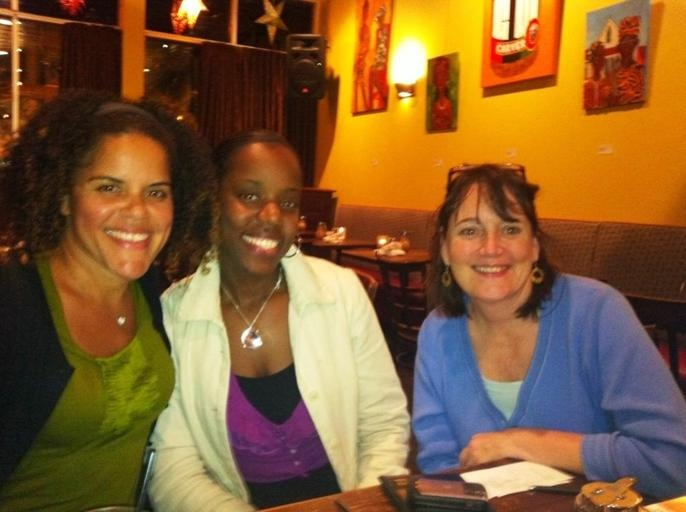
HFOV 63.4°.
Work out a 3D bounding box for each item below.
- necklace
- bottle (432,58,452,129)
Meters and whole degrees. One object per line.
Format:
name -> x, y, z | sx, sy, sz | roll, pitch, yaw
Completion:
necklace -> -0.347, 0.213, 2.043 | 0.289, 0.277, 0.137 | -4, -11, 0
bottle -> 1.132, -1.824, 6.252 | 0.070, 0.792, 0.407 | -4, 16, -23
